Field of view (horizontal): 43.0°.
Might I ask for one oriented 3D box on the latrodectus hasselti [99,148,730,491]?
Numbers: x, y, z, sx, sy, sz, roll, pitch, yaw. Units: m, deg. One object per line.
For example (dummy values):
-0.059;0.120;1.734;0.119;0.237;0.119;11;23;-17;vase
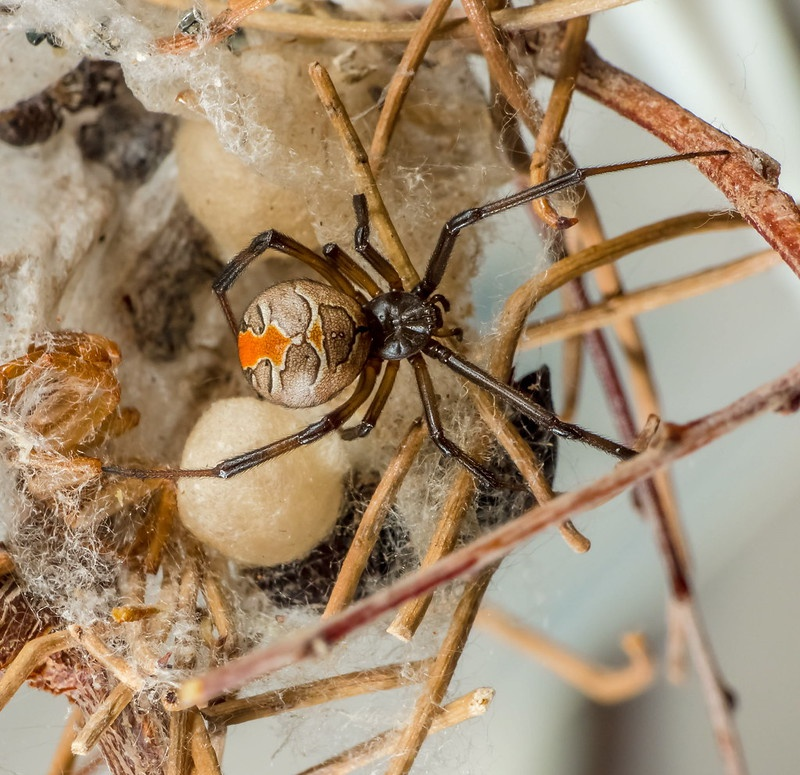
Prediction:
-0.025;-0.021;0.760;0.337;0.237;0.228;4;71;-5;latrodectus hasselti
